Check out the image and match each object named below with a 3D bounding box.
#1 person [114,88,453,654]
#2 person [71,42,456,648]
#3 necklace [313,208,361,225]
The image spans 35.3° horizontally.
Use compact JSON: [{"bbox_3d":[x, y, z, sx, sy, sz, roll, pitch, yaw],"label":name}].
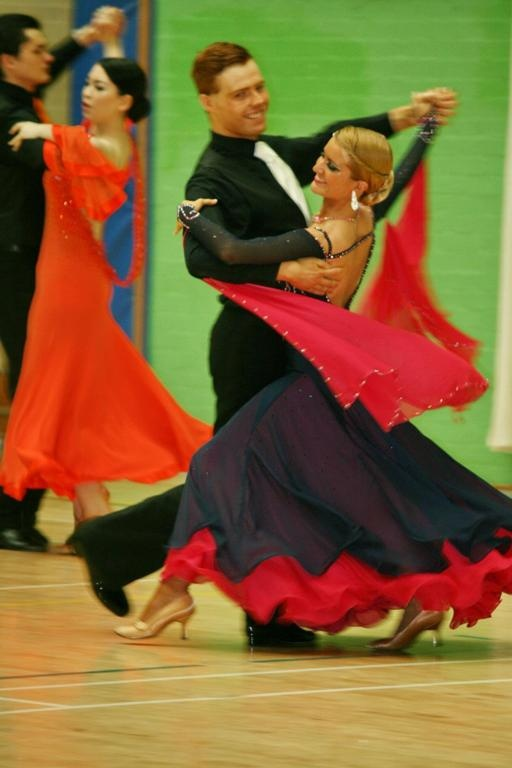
[{"bbox_3d":[0.026,-0.053,2.102,0.515,1.357,0.849,8,12,25],"label":"person"},{"bbox_3d":[0.134,-0.139,2.265,1.454,1.505,0.432,-11,34,-13],"label":"person"},{"bbox_3d":[0.186,-0.403,1.931,0.079,0.027,0.052,-10,24,-5],"label":"necklace"}]
